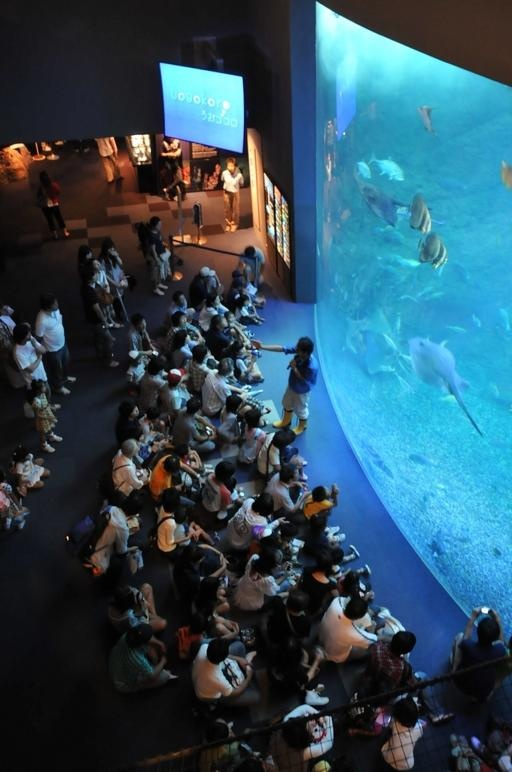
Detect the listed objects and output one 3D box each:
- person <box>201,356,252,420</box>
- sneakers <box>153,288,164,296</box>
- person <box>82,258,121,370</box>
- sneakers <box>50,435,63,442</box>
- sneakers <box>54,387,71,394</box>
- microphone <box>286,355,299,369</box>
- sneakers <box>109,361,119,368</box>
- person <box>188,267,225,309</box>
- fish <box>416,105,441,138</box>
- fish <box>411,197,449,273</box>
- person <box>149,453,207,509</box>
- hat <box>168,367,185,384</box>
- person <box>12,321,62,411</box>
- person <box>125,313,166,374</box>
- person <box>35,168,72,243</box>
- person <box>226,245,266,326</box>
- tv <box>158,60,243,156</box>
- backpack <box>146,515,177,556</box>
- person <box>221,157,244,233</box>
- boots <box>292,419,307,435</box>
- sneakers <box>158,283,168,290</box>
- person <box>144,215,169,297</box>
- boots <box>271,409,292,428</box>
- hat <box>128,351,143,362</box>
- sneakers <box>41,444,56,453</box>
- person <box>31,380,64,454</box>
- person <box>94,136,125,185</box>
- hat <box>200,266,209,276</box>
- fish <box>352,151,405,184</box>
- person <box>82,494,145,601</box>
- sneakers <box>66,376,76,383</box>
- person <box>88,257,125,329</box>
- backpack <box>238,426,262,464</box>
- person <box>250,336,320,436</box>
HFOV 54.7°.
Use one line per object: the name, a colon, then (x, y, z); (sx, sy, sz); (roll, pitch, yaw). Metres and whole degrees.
person: (-0.396, 0.084, 5.573); (0.460, 0.857, 0.384); (-17, 49, -40)
sneakers: (-1.490, -1.451, 7.701); (0.074, 0.088, 0.217); (-43, 54, -16)
person: (-2.009, -0.939, 6.479); (0.410, 1.489, 0.486); (-14, 56, -11)
sneakers: (-2.169, 0.576, 5.432); (0.121, 0.090, 0.051); (-7, 63, -17)
sneakers: (-2.346, 0.066, 6.078); (0.173, 0.135, 0.074); (-1, 64, -6)
microphone: (0.381, -0.241, 5.138); (0.112, 0.086, 0.037); (-27, 51, 8)
sneakers: (-1.838, -0.279, 6.483); (0.133, 0.094, 0.057); (-6, 70, -6)
person: (-0.689, -1.362, 7.037); (0.460, 0.716, 0.355); (-19, 63, -13)
fish: (1.021, -1.586, 2.957); (0.122, 0.170, 0.043); (-7, -2, -26)
fish: (1.099, -0.965, 3.182); (0.100, 0.396, 0.263); (-14, 28, -5)
person: (-0.719, 0.833, 4.455); (0.432, 0.785, 0.316); (-17, 58, -27)
hat: (-0.798, -0.119, 4.983); (0.127, 0.111, 0.218); (-2, 54, 18)
person: (-2.369, -0.215, 5.433); (0.270, 0.941, 0.404); (-10, 63, -14)
person: (-1.336, -0.436, 6.116); (0.454, 0.901, 0.407); (16, 41, 5)
person: (-3.611, -3.197, 8.841); (0.378, 1.092, 0.688); (-13, 27, -18)
person: (-0.143, -1.486, 7.263); (0.543, 0.955, 1.056); (-3, 26, 3)
tv: (-0.808, -4.222, 7.429); (1.572, 1.229, 0.176); (13, 44, 16)
backpack: (-0.753, 1.218, 4.008); (0.180, 0.333, 0.317); (-9, 46, -23)
person: (-0.425, -3.494, 9.075); (0.368, 1.203, 0.839); (-5, 26, -1)
boots: (0.492, 0.465, 5.507); (0.194, 0.199, 0.096); (1, 55, 1)
sneakers: (-1.441, -1.563, 7.794); (0.143, 0.067, 0.059); (16, 41, 13)
person: (-1.495, -2.006, 7.648); (0.363, 1.123, 0.475); (-9, 26, -9)
boots: (0.260, 0.390, 5.554); (0.261, 0.258, 0.122); (-2, 53, -2)
hat: (-1.415, -0.325, 5.788); (0.116, 0.038, 0.123); (43, 35, 23)
sneakers: (-2.200, 0.668, 5.305); (0.131, 0.054, 0.083); (34, 51, 20)
person: (-2.247, 0.368, 5.363); (0.234, 0.747, 0.253); (10, 53, -4)
person: (-3.179, -4.947, 10.918); (0.411, 0.892, 1.148); (-11, 27, -12)
hat: (-0.701, -1.577, 6.858); (0.104, 0.118, 0.223); (-3, 26, 4)
fish: (0.902, -1.578, 3.635); (0.112, 0.212, 0.481); (-9, 35, -25)
person: (-1.066, 1.335, 3.929); (0.383, 1.074, 0.318); (15, 19, -13)
sneakers: (-2.316, -0.083, 6.278); (0.051, 0.132, 0.056); (31, 83, -3)
person: (-1.970, -1.225, 6.539); (0.303, 0.992, 0.394); (-13, 73, -1)
backpack: (-0.056, 0.613, 5.025); (0.166, 0.313, 0.208); (39, 61, 20)
person: (0.281, -0.063, 5.327); (0.719, 1.182, 0.381); (20, 37, 20)
